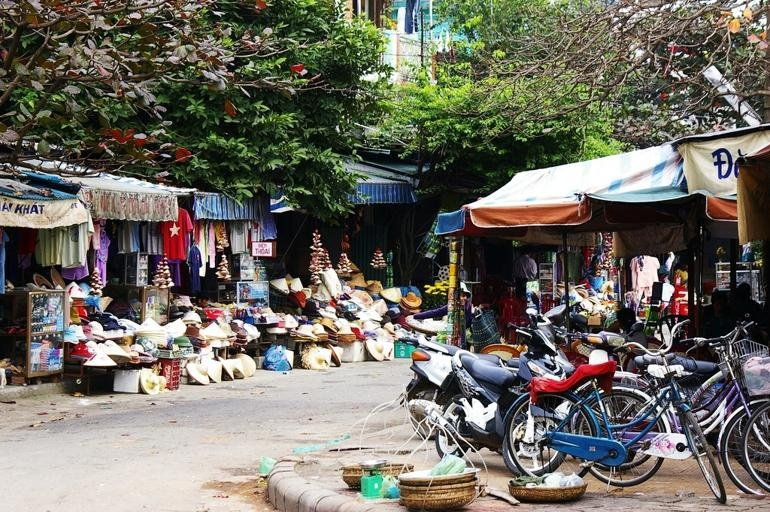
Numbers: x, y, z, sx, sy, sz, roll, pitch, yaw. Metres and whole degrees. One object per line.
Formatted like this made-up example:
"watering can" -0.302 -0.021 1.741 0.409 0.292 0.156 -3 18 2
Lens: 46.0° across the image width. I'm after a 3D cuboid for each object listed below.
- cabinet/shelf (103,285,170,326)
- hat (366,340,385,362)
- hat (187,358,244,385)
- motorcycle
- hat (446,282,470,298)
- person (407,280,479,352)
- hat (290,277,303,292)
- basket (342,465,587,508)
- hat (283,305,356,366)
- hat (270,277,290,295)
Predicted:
"cabinet/shelf" -5.000 0.982 18.311 1.355 0.723 0.947 -1 -5 34
"hat" -0.312 2.313 22.261 0.129 0.482 0.503 -31 -55 31
"hat" -3.437 2.295 18.224 0.439 0.491 1.347 -2 -5 28
"motorcycle" 2.378 1.922 11.024 4.043 1.858 1.563 1 -4 16
"hat" 1.223 0.583 16.100 0.558 0.226 0.327 -1 -2 5
"person" 0.925 1.177 16.582 1.042 1.256 0.999 3 22 10
"hat" -2.220 0.697 22.466 0.299 0.343 0.571 0 -4 -5
"basket" 0.974 2.529 10.049 2.410 0.412 0.787 1 -4 -15
"hat" -1.524 2.049 21.135 1.135 0.553 1.323 4 0 26
"hat" -2.617 0.730 22.338 0.489 0.393 0.458 0 -4 -4
